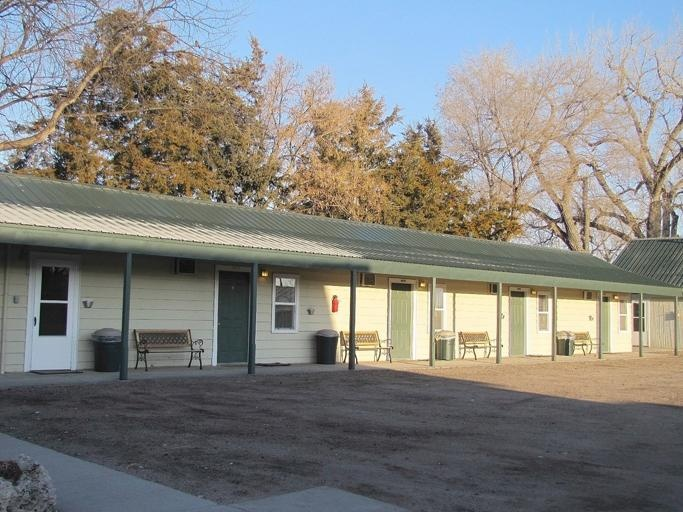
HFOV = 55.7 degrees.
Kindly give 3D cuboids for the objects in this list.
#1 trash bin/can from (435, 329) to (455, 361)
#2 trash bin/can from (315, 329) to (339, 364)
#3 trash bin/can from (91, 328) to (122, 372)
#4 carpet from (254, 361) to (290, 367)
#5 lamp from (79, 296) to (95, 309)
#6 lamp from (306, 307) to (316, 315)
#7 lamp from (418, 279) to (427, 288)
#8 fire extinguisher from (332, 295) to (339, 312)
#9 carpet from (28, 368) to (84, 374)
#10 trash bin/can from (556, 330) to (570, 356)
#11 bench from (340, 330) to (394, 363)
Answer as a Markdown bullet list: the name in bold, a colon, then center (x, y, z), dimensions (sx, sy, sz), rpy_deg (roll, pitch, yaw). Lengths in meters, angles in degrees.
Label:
- **trash bin/can**: center (3.473, 3.046, 21.619), dimensions (0.818, 0.980, 0.831), rpy_deg (-6, -7, 44)
- **trash bin/can**: center (-0.419, 2.689, 18.724), dimensions (0.844, 1.044, 0.846), rpy_deg (6, -12, -16)
- **trash bin/can**: center (-5.408, 2.212, 14.987), dimensions (0.816, 0.984, 0.902), rpy_deg (0, -2, -1)
- **carpet**: center (-1.889, 3.010, 17.836), dimensions (1.010, 0.104, 0.571), rpy_deg (4, -12, -23)
- **lamp**: center (-5.953, 1.123, 15.252), dimensions (0.229, 0.206, 0.278), rpy_deg (-6, -8, 30)
- **lamp**: center (-0.876, 1.634, 19.007), dimensions (0.061, 0.219, 0.291), rpy_deg (-10, -13, 43)
- **lamp**: center (2.701, 0.976, 21.435), dimensions (0.352, 0.346, 0.244), rpy_deg (4, -5, -37)
- **fire extinguisher**: center (-0.148, 1.462, 19.491), dimensions (0.310, 0.522, 0.154), rpy_deg (7, -12, -40)
- **carpet**: center (-6.353, 2.612, 14.464), dimensions (1.049, 0.131, 0.717), rpy_deg (4, -12, -25)
- **trash bin/can**: center (8.669, 3.435, 25.216), dimensions (0.728, 1.000, 0.617), rpy_deg (9, -13, -43)
- **bench**: center (0.762, 2.876, 20.136), dimensions (1.462, 0.861, 0.631), rpy_deg (-8, -17, 44)
